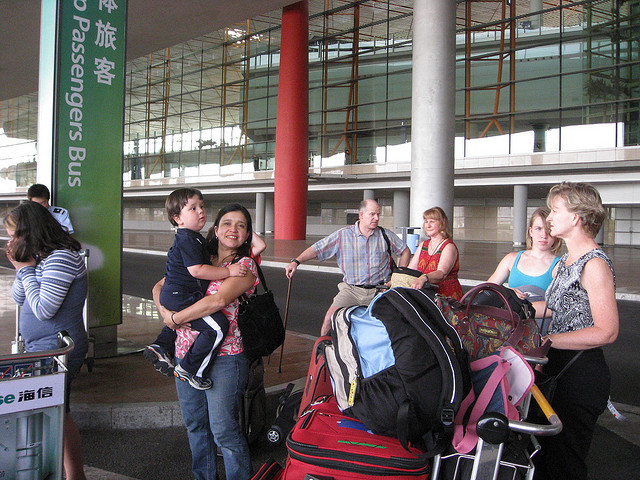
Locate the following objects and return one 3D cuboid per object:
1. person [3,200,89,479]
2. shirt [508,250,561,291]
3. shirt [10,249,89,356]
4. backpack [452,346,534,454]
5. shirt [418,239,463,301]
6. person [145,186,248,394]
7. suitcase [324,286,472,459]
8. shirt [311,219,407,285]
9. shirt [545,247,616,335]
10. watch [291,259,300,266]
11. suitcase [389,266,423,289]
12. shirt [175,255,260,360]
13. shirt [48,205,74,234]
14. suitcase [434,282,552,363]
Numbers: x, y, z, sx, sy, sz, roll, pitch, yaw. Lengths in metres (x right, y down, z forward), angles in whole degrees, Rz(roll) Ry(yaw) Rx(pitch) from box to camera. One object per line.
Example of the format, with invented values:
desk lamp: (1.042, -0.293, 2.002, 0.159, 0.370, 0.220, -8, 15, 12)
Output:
person: (-1.840, 0.786, 3.196, 0.498, 2.117, 0.833, -3, 4, -28)
shirt: (1.863, 0.275, 4.069, 0.271, 0.351, 0.200, 8, -29, 46)
shirt: (-1.892, 0.427, 3.210, 0.482, 0.728, 0.309, -1, 4, -1)
backpack: (0.933, 0.826, 2.433, 0.479, 0.471, 0.207, 14, -14, 40)
shirt: (1.461, 0.372, 5.861, 0.467, 0.763, 0.600, -5, 7, -20)
person: (-0.889, 0.357, 3.237, 0.527, 1.443, 0.600, -3, 4, -31)
suitcase: (0.336, 0.574, 2.309, 0.821, 0.611, 0.352, 24, 18, 36)
shirt: (0.464, 0.170, 6.248, 0.966, 0.817, 0.348, -1, 4, -2)
shirt: (1.509, 0.317, 2.807, 0.307, 0.547, 0.438, -2, 3, -13)
watch: (-0.321, 0.288, 6.001, 0.085, 0.076, 0.056, 33, 20, 21)
suitcase: (0.861, 0.379, 4.732, 0.290, 0.157, 0.464, 0, 3, 15)
shirt: (-0.697, 0.464, 3.104, 0.473, 0.839, 0.662, 11, -5, -26)
shirt: (-3.056, -0.228, 5.441, 0.207, 0.327, 0.424, -1, 3, -7)
suitcase: (0.945, 0.457, 2.525, 0.461, 0.365, 0.234, 11, 0, -6)
